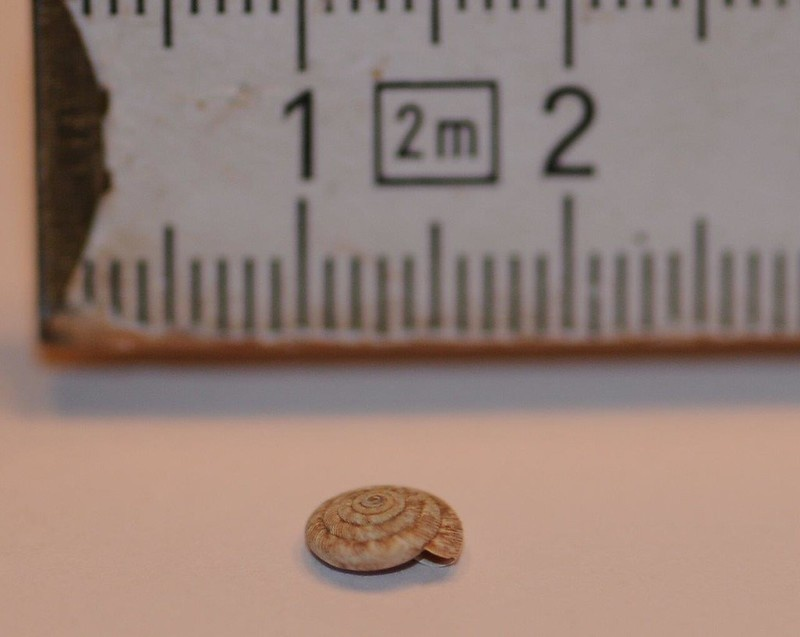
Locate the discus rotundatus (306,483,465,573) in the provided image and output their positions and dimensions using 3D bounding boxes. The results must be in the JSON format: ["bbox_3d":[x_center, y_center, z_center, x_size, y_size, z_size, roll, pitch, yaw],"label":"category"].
[{"bbox_3d":[-0.015,0.245,2.021,0.110,0.049,0.116,4,23,14],"label":"discus rotundatus"}]
